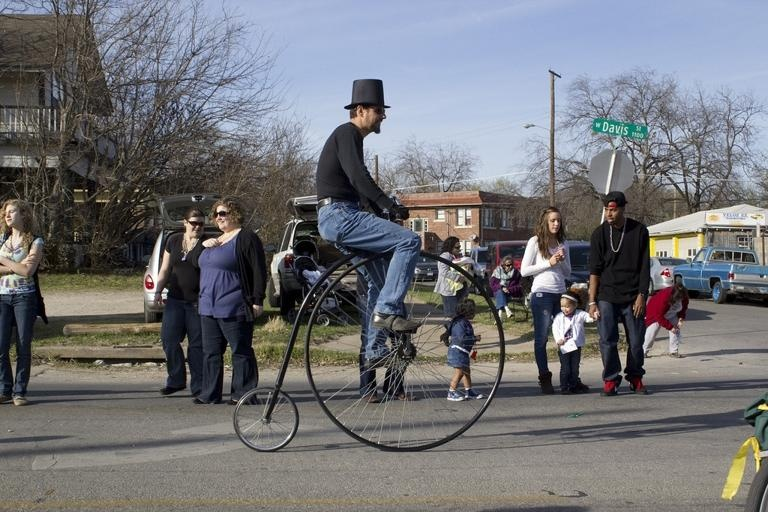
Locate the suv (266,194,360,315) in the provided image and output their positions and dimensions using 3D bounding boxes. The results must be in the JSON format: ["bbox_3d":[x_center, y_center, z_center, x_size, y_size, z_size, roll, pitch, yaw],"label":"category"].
[{"bbox_3d":[-1.608,0.013,22.050,1.997,2.029,3.389,-1,3,-11],"label":"suv"}]

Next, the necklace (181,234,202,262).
[{"bbox_3d":[-2.867,-0.108,13.654,0.368,0.149,0.633,21,-4,-15],"label":"necklace"}]

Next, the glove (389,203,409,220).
[{"bbox_3d":[0.207,-0.558,11.548,0.171,0.100,0.230,25,-8,-39],"label":"glove"}]

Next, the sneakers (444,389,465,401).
[{"bbox_3d":[1.031,2.000,13.066,0.310,0.187,0.126,-1,4,13],"label":"sneakers"}]

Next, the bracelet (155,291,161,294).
[{"bbox_3d":[-3.542,0.574,14.334,0.102,0.027,0.102,4,-5,-44],"label":"bracelet"}]

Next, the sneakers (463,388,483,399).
[{"bbox_3d":[1.289,1.989,13.150,0.305,0.126,0.128,0,1,-7],"label":"sneakers"}]

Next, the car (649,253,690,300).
[{"bbox_3d":[9.882,0.578,31.966,1.636,1.223,3.466,-2,5,10],"label":"car"}]

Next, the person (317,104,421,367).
[{"bbox_3d":[-0.206,-0.280,11.595,1.327,3.305,0.496,-1,2,5],"label":"person"}]

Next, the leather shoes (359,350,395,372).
[{"bbox_3d":[-0.079,1.375,11.823,0.358,0.179,0.278,-13,-16,38],"label":"leather shoes"}]

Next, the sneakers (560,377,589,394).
[{"bbox_3d":[2.893,1.998,13.967,0.510,0.212,0.170,-2,5,-13],"label":"sneakers"}]

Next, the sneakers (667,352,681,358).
[{"bbox_3d":[5.402,1.842,17.021,0.083,0.087,0.206,-4,8,-23],"label":"sneakers"}]

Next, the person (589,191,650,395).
[{"bbox_3d":[3.524,0.557,13.742,0.879,3.068,0.625,0,2,14],"label":"person"}]

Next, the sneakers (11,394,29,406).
[{"bbox_3d":[-5.171,2.037,12.973,0.210,0.140,0.241,-2,2,-21],"label":"sneakers"}]

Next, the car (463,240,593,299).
[{"bbox_3d":[3.911,0.125,25.179,1.901,1.419,3.645,0,-6,-21],"label":"car"}]

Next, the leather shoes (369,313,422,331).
[{"bbox_3d":[0.129,0.830,11.413,0.577,0.252,0.224,0,4,14],"label":"leather shoes"}]
